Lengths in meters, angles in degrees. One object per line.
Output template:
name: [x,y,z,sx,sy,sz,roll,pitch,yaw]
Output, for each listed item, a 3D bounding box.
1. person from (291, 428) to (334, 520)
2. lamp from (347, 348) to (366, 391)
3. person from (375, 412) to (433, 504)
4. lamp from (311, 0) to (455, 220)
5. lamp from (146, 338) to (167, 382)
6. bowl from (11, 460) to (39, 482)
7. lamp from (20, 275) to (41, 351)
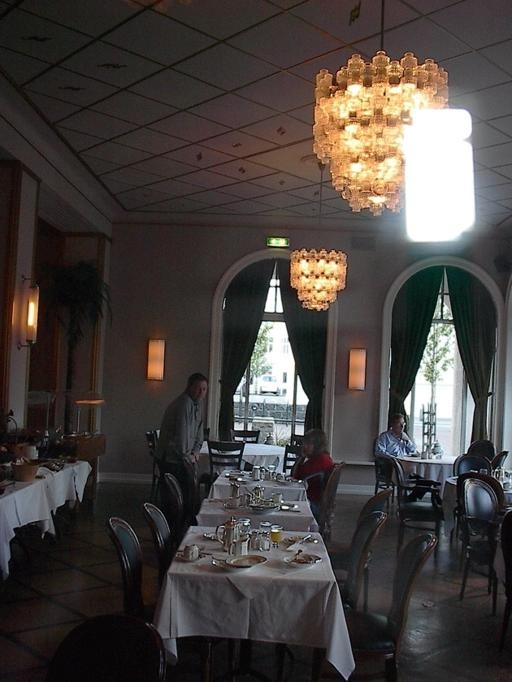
person: [0.549,1.393,5.035,0.432,1.117,0.379,2,1,-1]
lamp: [1.641,0.480,8.826,0.305,0.671,0.111,3,-4,6]
person: [1.956,1.553,7.481,0.477,1.002,0.594,8,-13,-6]
lamp: [0.686,-1.179,3.061,0.556,0.740,0.769,6,-5,-36]
lamp: [-1.625,0.320,8.913,0.310,0.694,0.126,4,-4,-9]
bowl: [-1.953,1.095,4.611,0.170,0.107,0.170,1,-9,0]
lamp: [-2.343,-0.283,5.670,0.140,0.732,0.299,3,-4,-5]
